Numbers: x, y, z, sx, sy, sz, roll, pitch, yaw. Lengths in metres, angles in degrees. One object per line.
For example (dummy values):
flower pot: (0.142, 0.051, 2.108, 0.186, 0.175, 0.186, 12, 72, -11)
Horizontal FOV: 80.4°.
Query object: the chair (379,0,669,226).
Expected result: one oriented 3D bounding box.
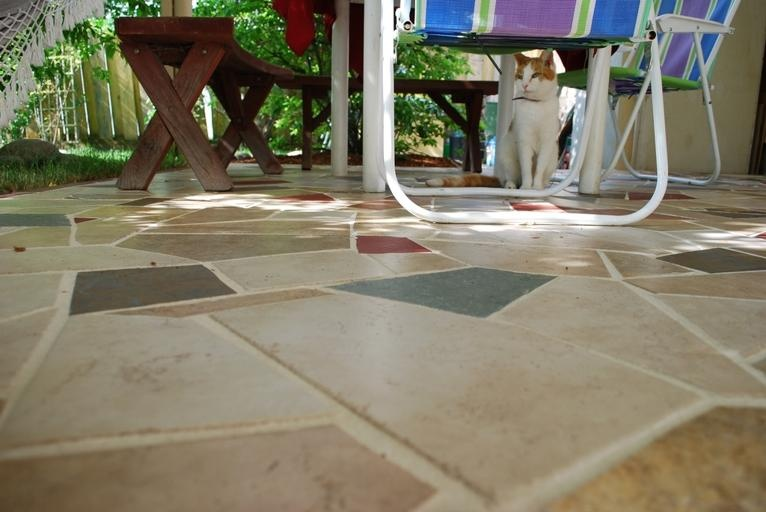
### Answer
chair: (0.670, -0.703, 2.340, 1.353, 1.000, 0.734, 1, 14, 3)
